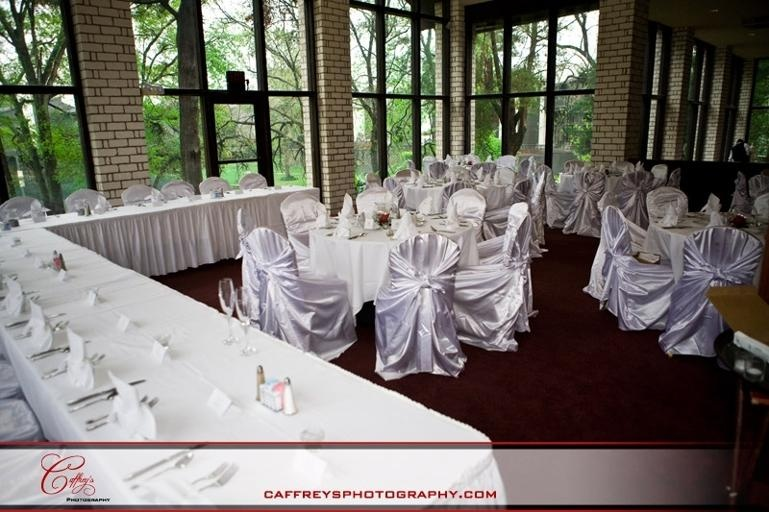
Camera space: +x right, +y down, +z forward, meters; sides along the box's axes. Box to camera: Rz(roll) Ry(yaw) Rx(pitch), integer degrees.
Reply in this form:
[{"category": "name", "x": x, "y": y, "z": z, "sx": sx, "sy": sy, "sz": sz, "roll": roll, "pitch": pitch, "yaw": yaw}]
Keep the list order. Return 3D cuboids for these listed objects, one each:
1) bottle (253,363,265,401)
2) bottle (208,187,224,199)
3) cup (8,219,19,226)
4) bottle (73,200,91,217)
[{"category": "bottle", "x": -0.714, "y": 0.701, "z": 2.767, "sx": 0.069, "sy": 0.184, "sz": 0.164, "roll": -8, "pitch": 17, "yaw": -16}, {"category": "bottle", "x": -2.682, "y": -0.999, "z": 7.737, "sx": 0.242, "sy": 0.197, "sz": 0.149, "roll": 0, "pitch": 6, "yaw": -18}, {"category": "cup", "x": -4.595, "y": -0.410, "z": 6.002, "sx": 0.067, "sy": 0.053, "sz": 0.068, "roll": 1, "pitch": 12, "yaw": 0}, {"category": "bottle", "x": -4.153, "y": -0.661, "z": 6.673, "sx": 0.207, "sy": 0.340, "sz": 0.331, "roll": -3, "pitch": 10, "yaw": -30}]
